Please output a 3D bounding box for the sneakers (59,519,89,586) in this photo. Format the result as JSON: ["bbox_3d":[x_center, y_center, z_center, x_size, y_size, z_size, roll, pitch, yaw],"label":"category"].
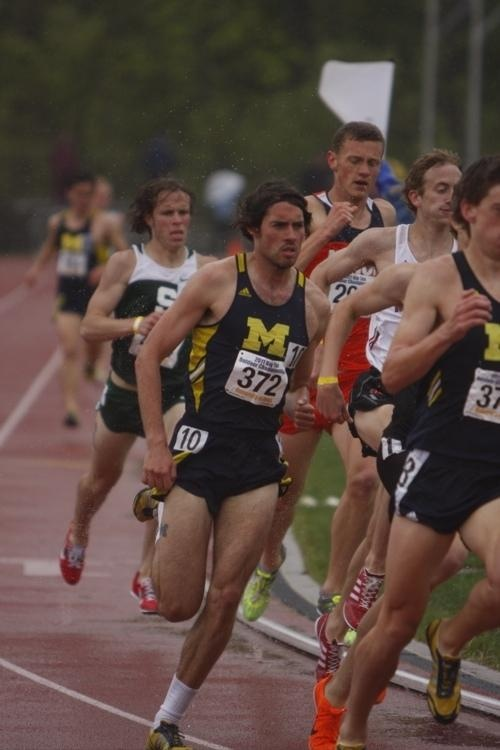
[{"bbox_3d":[-0.953,0.992,4.768,0.142,0.376,0.155,-4,21,-19],"label":"sneakers"}]

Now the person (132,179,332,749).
[{"bbox_3d":[-0.075,0.253,2.827,0.493,1.775,0.417,5,-1,-34],"label":"person"}]

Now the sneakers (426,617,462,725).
[{"bbox_3d":[0.608,0.951,2.749,0.122,0.340,0.151,-2,7,-3],"label":"sneakers"}]

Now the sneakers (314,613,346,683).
[{"bbox_3d":[0.333,1.113,3.516,0.116,0.318,0.133,11,-18,-36],"label":"sneakers"}]

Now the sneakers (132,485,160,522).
[{"bbox_3d":[-0.379,0.466,3.086,0.112,0.086,0.237,-27,-9,-14],"label":"sneakers"}]

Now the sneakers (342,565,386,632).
[{"bbox_3d":[0.436,0.846,3.420,0.106,0.140,0.308,32,21,-7],"label":"sneakers"}]
